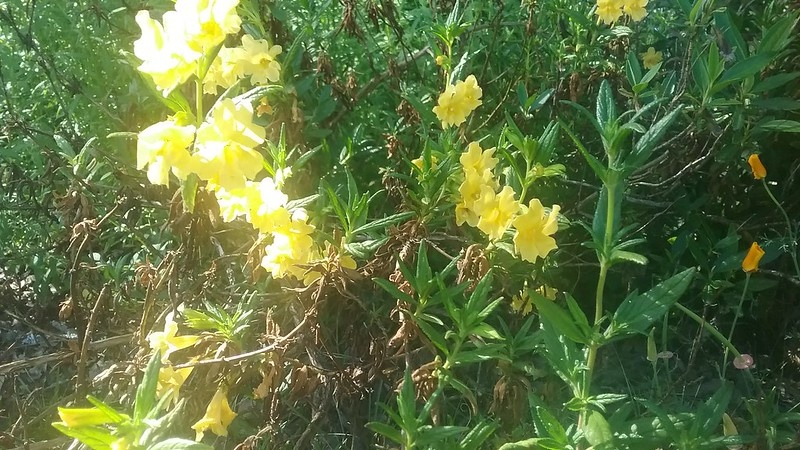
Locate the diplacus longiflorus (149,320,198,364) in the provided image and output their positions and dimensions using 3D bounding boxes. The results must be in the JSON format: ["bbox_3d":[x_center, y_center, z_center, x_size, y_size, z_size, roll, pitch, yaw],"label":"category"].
[{"bbox_3d":[-0.768,0.384,2.272,0.152,0.141,0.178,-20,3,-23],"label":"diplacus longiflorus"}]
